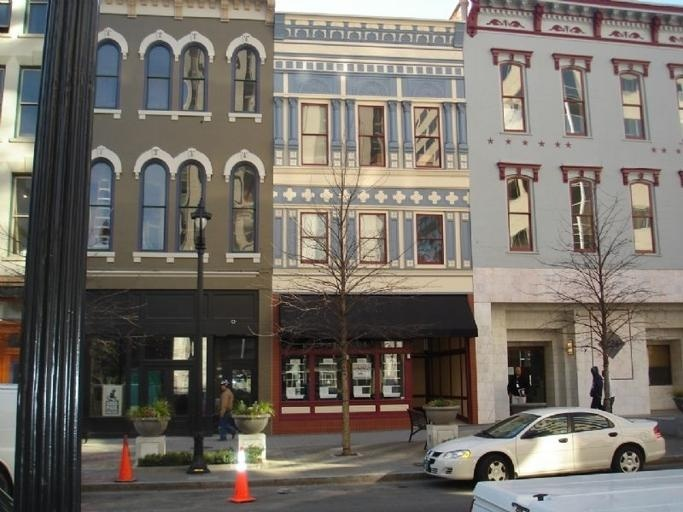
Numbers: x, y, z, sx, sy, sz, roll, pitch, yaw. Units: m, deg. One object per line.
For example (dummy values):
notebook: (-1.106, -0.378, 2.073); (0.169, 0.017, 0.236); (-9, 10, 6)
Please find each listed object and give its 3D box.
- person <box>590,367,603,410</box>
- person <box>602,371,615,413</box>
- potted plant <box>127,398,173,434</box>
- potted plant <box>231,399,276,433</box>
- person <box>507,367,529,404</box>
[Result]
person: (7.940, 4.047, 26.727); (0.402, 1.304, 2.030); (-3, -9, 16)
person: (8.284, 4.241, 26.714); (0.431, 0.448, 1.911); (-6, -28, 17)
potted plant: (-5.050, 4.294, 22.555); (1.118, 0.865, 1.167); (0, -5, 26)
potted plant: (-2.364, 4.275, 22.657); (1.094, 0.861, 1.139); (-6, -8, 44)
person: (6.233, 4.506, 30.280); (0.694, 1.313, 1.449); (-2, -9, 13)
